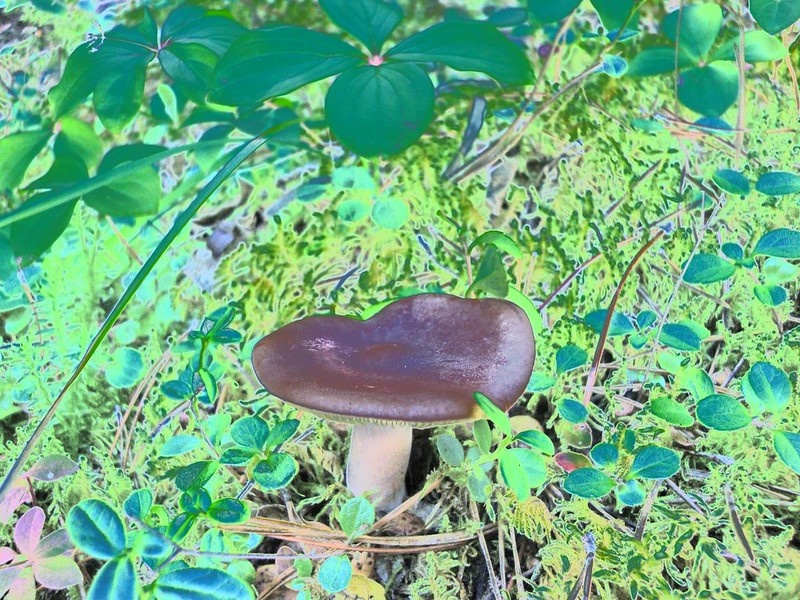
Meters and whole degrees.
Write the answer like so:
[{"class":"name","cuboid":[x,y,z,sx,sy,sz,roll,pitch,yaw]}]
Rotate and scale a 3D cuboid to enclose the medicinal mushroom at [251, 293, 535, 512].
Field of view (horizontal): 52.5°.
[{"class":"medicinal mushroom","cuboid":[-0.044,0.329,2.198,0.564,0.557,0.633,-2,22,-19]}]
